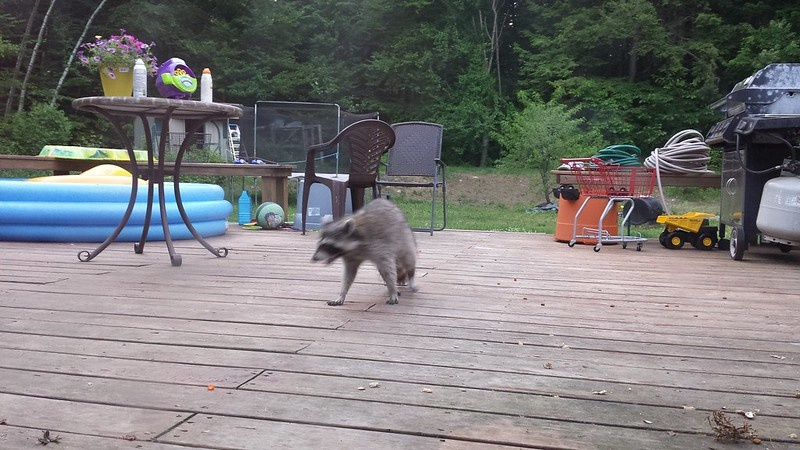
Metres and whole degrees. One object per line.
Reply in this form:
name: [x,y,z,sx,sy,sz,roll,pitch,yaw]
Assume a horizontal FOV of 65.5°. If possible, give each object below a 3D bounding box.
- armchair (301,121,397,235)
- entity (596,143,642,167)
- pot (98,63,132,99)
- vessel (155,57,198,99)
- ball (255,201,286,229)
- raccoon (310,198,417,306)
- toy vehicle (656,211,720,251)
armchair: [-0.711,-0.588,8.128,1.327,1.351,1.226,1,5,11]
entity: [2.874,-0.900,8.194,0.533,0.222,0.554,0,4,0]
pot: [-2.984,-1.495,6.526,0.366,0.255,0.366,1,2,0]
vessel: [-2.273,-1.484,6.324,0.348,0.406,0.385,-6,12,-33]
ball: [-1.890,-0.133,9.078,0.410,0.347,0.379,1,10,0]
raccoon: [-0.275,0.215,5.196,0.967,0.845,0.401,-3,11,-20]
toy vehicle: [3.547,0.061,7.675,0.683,0.422,0.443,-1,4,2]
